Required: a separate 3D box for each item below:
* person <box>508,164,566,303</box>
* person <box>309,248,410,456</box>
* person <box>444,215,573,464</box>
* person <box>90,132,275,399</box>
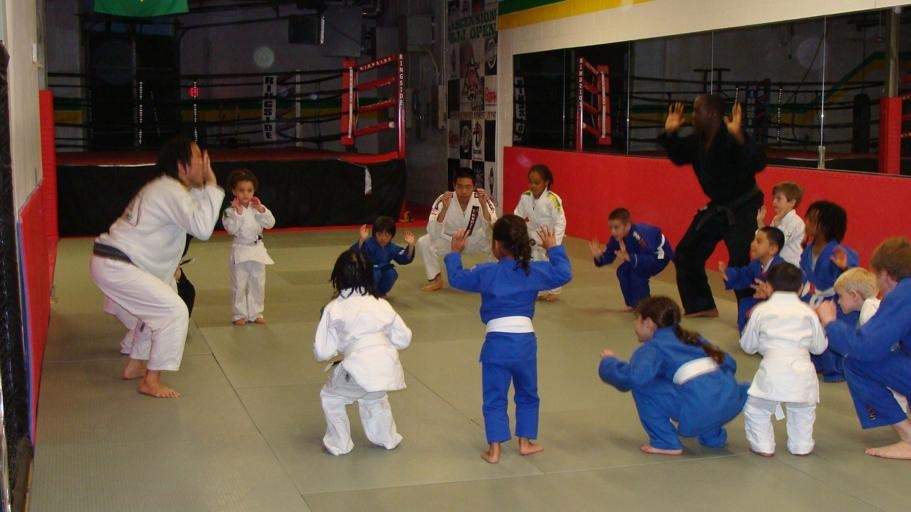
[{"bbox_3d":[0.937,-0.240,7.959,0.662,1.499,0.693,4,19,22],"label":"person"},{"bbox_3d":[-0.648,0.662,4.878,0.656,1.377,0.440,-2,13,-1],"label":"person"},{"bbox_3d":[0.371,0.548,4.812,0.849,1.630,0.472,-2,13,-1],"label":"person"},{"bbox_3d":[-2.382,0.086,5.633,0.988,1.978,0.696,-8,15,-26],"label":"person"}]
